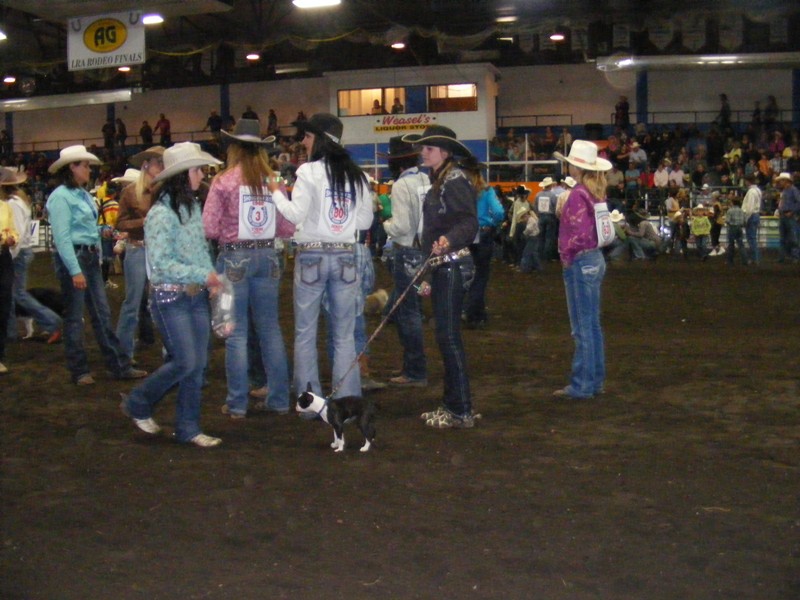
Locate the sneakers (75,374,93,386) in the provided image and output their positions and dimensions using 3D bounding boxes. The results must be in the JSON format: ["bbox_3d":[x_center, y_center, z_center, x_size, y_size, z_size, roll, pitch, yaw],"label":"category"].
[{"bbox_3d":[-2.988,0.742,7.726,0.087,0.071,0.175,3,-21,-44],"label":"sneakers"}]

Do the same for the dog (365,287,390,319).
[{"bbox_3d":[-0.279,0.022,10.585,0.368,0.309,0.270,14,-21,-25],"label":"dog"}]

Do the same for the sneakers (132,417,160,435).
[{"bbox_3d":[-1.979,0.958,6.341,0.249,0.112,0.106,1,-1,4],"label":"sneakers"}]

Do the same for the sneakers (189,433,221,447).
[{"bbox_3d":[-1.444,1.032,6.125,0.223,0.076,0.188,-6,11,-34],"label":"sneakers"}]

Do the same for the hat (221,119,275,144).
[{"bbox_3d":[-1.216,-1.315,6.564,0.300,0.111,0.321,7,6,-5],"label":"hat"}]

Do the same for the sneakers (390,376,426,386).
[{"bbox_3d":[0.066,0.784,7.752,0.349,0.137,0.114,5,-13,-2],"label":"sneakers"}]

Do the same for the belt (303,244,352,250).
[{"bbox_3d":[-0.567,-0.412,6.387,0.386,0.050,0.094,-2,9,-15],"label":"belt"}]

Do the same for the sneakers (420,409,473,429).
[{"bbox_3d":[0.377,0.940,6.562,0.438,0.183,0.144,5,-13,11],"label":"sneakers"}]

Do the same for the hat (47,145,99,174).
[{"bbox_3d":[-3.042,-1.282,7.447,0.431,0.160,0.375,-20,1,-1],"label":"hat"}]
